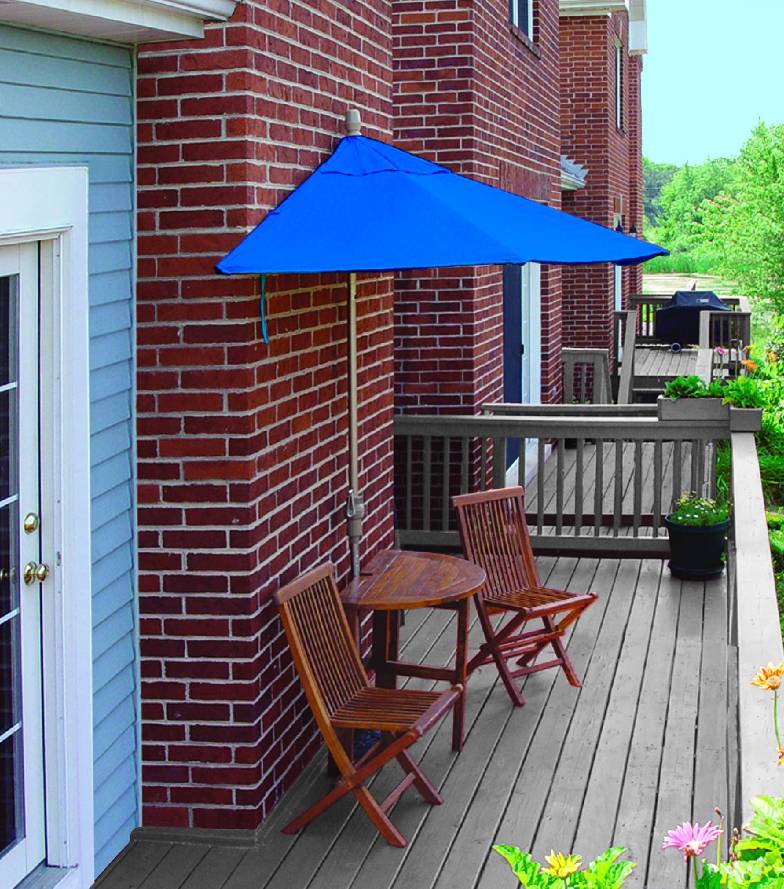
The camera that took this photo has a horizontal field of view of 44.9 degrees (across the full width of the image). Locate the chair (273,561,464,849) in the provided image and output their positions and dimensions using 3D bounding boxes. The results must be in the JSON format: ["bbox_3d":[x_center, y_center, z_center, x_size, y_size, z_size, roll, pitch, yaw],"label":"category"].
[{"bbox_3d":[-0.113,1.000,4.305,0.870,1.534,0.876,0,9,19],"label":"chair"}]

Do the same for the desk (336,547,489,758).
[{"bbox_3d":[0.090,0.794,4.599,0.689,1.048,1.035,3,18,7],"label":"desk"}]

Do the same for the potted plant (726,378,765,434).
[{"bbox_3d":[2.867,-0.358,7.656,0.356,0.499,0.476,0,6,8],"label":"potted plant"}]

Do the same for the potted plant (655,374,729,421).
[{"bbox_3d":[2.419,-0.348,7.796,0.389,0.289,0.418,-1,10,1],"label":"potted plant"}]

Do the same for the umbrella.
[{"bbox_3d":[0.032,-0.513,3.611,1.081,1.023,1.266,12,19,37],"label":"umbrella"}]

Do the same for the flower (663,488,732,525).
[{"bbox_3d":[2.382,0.506,7.372,0.464,0.198,0.432,1,6,19],"label":"flower"}]

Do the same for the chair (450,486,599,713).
[{"bbox_3d":[0.760,0.882,5.599,0.557,1.171,0.631,-5,4,-28],"label":"chair"}]

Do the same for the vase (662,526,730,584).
[{"bbox_3d":[2.366,0.802,7.388,0.409,0.409,0.436,-1,3,-5],"label":"vase"}]
